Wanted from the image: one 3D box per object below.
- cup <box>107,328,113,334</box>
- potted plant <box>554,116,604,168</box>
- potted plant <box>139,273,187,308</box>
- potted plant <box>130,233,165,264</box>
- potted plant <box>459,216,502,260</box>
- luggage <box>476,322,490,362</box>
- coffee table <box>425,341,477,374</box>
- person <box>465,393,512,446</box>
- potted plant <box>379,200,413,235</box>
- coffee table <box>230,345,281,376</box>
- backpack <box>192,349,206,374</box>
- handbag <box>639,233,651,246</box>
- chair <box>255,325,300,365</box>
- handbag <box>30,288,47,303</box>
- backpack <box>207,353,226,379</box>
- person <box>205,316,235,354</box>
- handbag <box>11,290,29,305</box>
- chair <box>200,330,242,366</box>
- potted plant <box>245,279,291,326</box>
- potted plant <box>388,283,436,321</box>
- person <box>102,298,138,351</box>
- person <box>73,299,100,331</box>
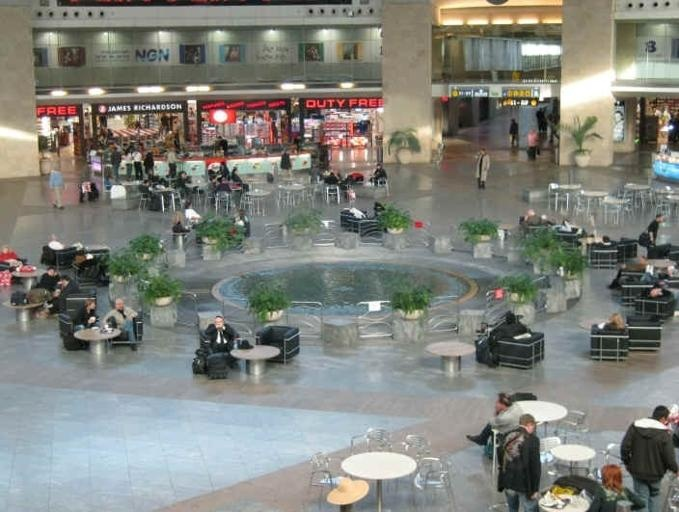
[{"bbox_3d":[-4.752,1.557,14.793,0.133,0.069,0.250,-5,7,-19],"label":"cup"},{"bbox_3d":[12.167,-5.542,35.155,2.502,2.559,2.289,2,6,10],"label":"potted plant"},{"bbox_3d":[-4.132,0.775,16.835,0.782,0.513,0.769,0,12,0],"label":"potted plant"},{"bbox_3d":[-5.194,-0.232,19.299,0.844,0.557,0.833,6,17,7],"label":"potted plant"},{"bbox_3d":[4.182,-0.586,21.584,1.502,1.434,1.128,-2,15,-1],"label":"potted plant"},{"bbox_3d":[2.885,1.776,14.329,0.279,0.743,0.600,-1,7,10],"label":"luggage"},{"bbox_3d":[2.145,1.997,13.918,0.920,0.570,1.032,-3,7,-2],"label":"coffee table"},{"bbox_3d":[2.194,2.393,10.349,0.737,0.882,0.397,11,20,35],"label":"person"},{"bbox_3d":[1.801,-1.184,22.478,1.039,0.887,0.965,-1,12,-1],"label":"potted plant"},{"bbox_3d":[-1.619,2.067,13.876,0.905,0.528,0.840,-4,7,-9],"label":"coffee table"},{"bbox_3d":[-2.729,2.063,14.019,0.304,0.151,0.424,0,40,-2],"label":"backpack"},{"bbox_3d":[8.721,-0.458,20.308,0.346,0.479,0.260,5,7,35],"label":"handbag"},{"bbox_3d":[-1.249,1.761,14.680,0.800,0.655,0.748,4,11,20],"label":"chair"},{"bbox_3d":[-7.140,0.951,16.936,0.333,0.324,0.352,-1,7,13],"label":"handbag"},{"bbox_3d":[-2.380,2.138,13.916,0.448,0.394,0.416,0,8,-6],"label":"backpack"},{"bbox_3d":[-2.405,1.654,14.467,0.628,0.826,0.491,-7,6,-20],"label":"person"},{"bbox_3d":[-7.505,1.011,16.895,0.356,0.210,0.354,9,20,23],"label":"handbag"},{"bbox_3d":[-2.398,1.740,14.351,0.648,0.338,0.815,-4,28,-20],"label":"chair"},{"bbox_3d":[-1.642,1.009,16.512,0.966,0.924,0.938,-3,15,-8],"label":"potted plant"},{"bbox_3d":[1.588,0.975,15.756,0.728,0.599,0.859,12,17,43],"label":"potted plant"},{"bbox_3d":[-4.671,1.456,15.369,0.707,0.989,0.672,2,14,40],"label":"person"},{"bbox_3d":[-5.375,1.302,15.391,0.512,0.721,0.571,4,7,-39],"label":"person"}]
